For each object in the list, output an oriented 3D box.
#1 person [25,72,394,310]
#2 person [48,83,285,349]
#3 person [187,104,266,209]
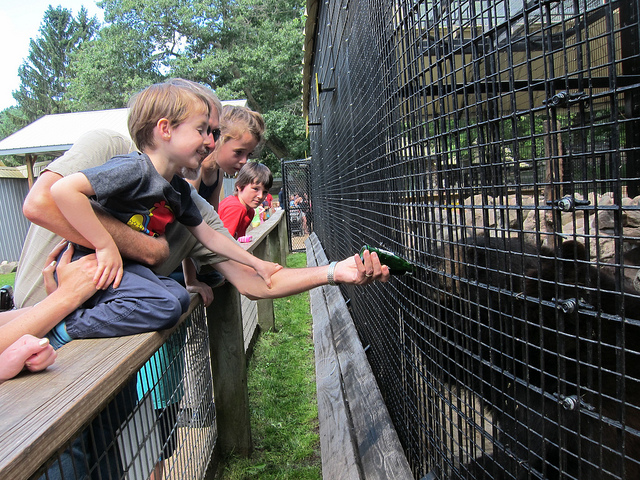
[{"bbox_3d":[-0.549,-0.259,2.311,1.594,1.266,0.931,-2,5,8],"label":"person"},{"bbox_3d":[-0.776,-0.201,2.065,0.535,1.071,0.999,0,11,11],"label":"person"},{"bbox_3d":[-0.777,-0.578,3.332,0.496,1.035,0.416,16,17,14],"label":"person"}]
